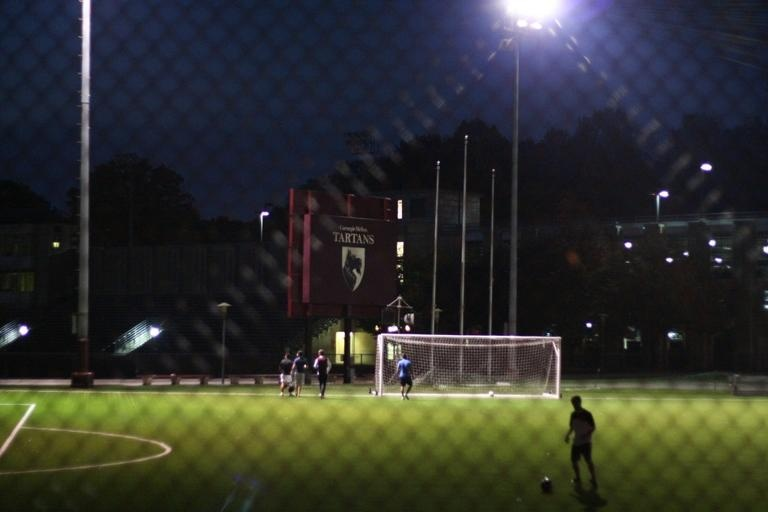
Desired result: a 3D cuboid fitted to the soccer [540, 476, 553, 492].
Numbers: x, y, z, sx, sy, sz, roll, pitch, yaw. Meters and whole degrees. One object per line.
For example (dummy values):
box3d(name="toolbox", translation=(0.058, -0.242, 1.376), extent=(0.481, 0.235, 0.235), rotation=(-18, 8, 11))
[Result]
box3d(name="soccer", translation=(3.738, 5.241, 19.957), extent=(0.204, 0.287, 0.293), rotation=(2, 6, 11))
